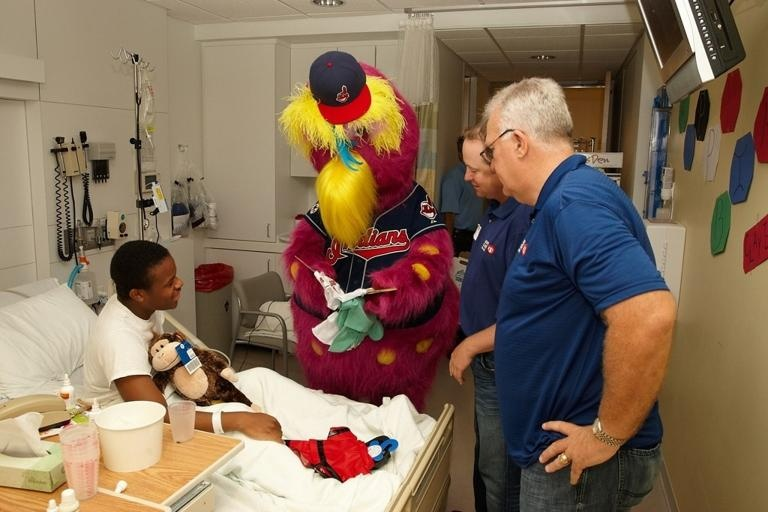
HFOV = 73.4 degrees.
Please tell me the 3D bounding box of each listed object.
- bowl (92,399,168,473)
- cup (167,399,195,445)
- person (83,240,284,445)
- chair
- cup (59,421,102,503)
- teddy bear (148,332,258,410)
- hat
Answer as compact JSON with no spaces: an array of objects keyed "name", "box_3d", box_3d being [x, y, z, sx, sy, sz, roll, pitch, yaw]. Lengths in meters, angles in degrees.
[{"name":"bowl","box_3d":[-0.845,0.591,1.704,0.199,0.153,0.217,1,5,0]},{"name":"cup","box_3d":[-0.718,0.584,1.830,0.125,0.120,0.130,-1,-5,0]},{"name":"person","box_3d":[-0.906,0.408,2.291,0.760,0.846,0.535,8,10,-1]},{"name":"chair","box_3d":[-0.893,0.623,4.320,0.618,0.899,0.646,3,12,2]},{"name":"cup","box_3d":[-0.958,0.630,1.631,0.101,0.219,0.148,-8,9,-32]},{"name":"teddy bear","box_3d":[-0.847,0.521,2.321,0.299,0.444,0.155,-43,-6,-36]},{"name":"hat","box_3d":[-0.178,-0.764,2.507,0.402,0.218,0.599,13,12,-3]}]
